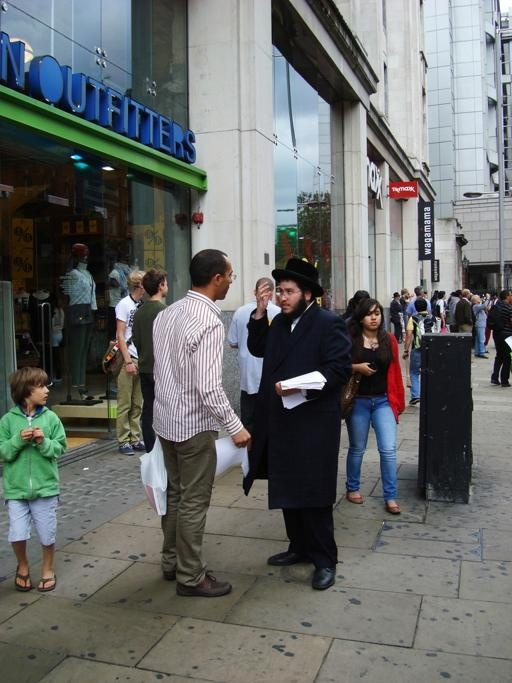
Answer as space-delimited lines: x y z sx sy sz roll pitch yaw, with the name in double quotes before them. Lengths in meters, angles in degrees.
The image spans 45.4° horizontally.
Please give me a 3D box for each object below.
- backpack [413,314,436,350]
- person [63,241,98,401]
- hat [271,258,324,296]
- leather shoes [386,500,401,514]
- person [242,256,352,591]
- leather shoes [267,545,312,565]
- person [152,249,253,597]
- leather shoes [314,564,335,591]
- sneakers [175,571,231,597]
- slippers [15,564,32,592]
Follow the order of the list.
"backpack" 2.544 -0.157 9.328 0.331 0.563 0.779 0 0 15
"person" -2.168 -0.237 7.454 0.545 1.878 0.180 0 0 38
"hat" 0.274 -0.385 3.418 0.201 0.093 0.242 26 -9 19
"leather shoes" 1.055 1.274 4.734 0.115 0.089 0.189 0 0 11
"person" 0.218 0.442 3.441 0.556 1.795 0.656 0 0 -18
"leather shoes" 0.199 1.269 3.677 0.207 0.086 0.110 4 -4 -15
"person" -0.303 0.424 3.219 0.356 1.818 0.618 0 0 -35
"leather shoes" 0.372 1.291 3.369 0.116 0.085 0.217 0 0 12
"sneakers" -0.273 1.260 3.226 0.268 0.129 0.112 0 -5 -6
"slippers" -1.236 1.261 3.259 0.056 0.044 0.157 5 7 -22
